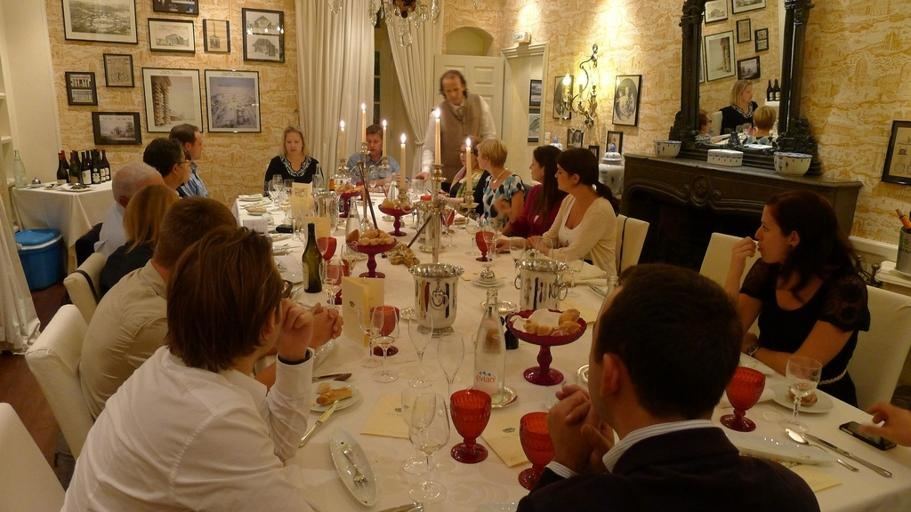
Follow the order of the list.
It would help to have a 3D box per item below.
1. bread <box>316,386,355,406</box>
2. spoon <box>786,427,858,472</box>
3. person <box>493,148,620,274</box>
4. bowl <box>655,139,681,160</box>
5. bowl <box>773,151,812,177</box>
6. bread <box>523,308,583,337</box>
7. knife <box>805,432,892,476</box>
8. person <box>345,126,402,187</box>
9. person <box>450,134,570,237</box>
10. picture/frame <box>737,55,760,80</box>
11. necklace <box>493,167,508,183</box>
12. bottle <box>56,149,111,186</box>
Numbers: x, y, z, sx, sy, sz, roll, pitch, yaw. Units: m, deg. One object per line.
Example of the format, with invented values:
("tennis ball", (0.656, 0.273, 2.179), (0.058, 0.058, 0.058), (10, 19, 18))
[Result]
("bread", (-0.571, 0.646, 2.780), (0.123, 0.030, 0.078), (-7, 38, -26))
("spoon", (1.604, 0.854, 2.606), (0.044, 0.036, 0.315), (-30, 22, -5))
("person", (0.850, -0.244, 4.773), (0.853, 1.174, 0.836), (-11, 16, -17))
("bowl", (2.072, -1.049, 5.853), (0.201, 0.131, 0.199), (-1, 10, 0))
("bowl", (2.750, -0.748, 4.861), (0.199, 0.123, 0.236), (-2, 7, -18))
("bread", (0.464, 0.325, 2.863), (0.160, 0.061, 0.169), (-6, 6, -26))
("knife", (1.724, 0.869, 2.599), (0.041, 0.017, 0.368), (-29, 37, -33))
("person", (-0.955, -1.039, 6.796), (0.653, 0.926, 0.518), (2, 22, -5))
("person", (0.425, -0.675, 5.410), (0.881, 1.190, 0.809), (-2, 32, -4))
("picture/frame", (2.656, -1.704, 5.379), (0.023, 0.237, 0.236), (-7, 20, -23))
("necklace", (0.427, -0.774, 5.705), (0.129, 0.081, 0.161), (-2, 30, 32))
("bottle", (-4.200, -0.976, 6.651), (0.448, 0.434, 0.444), (5, 14, 9))
